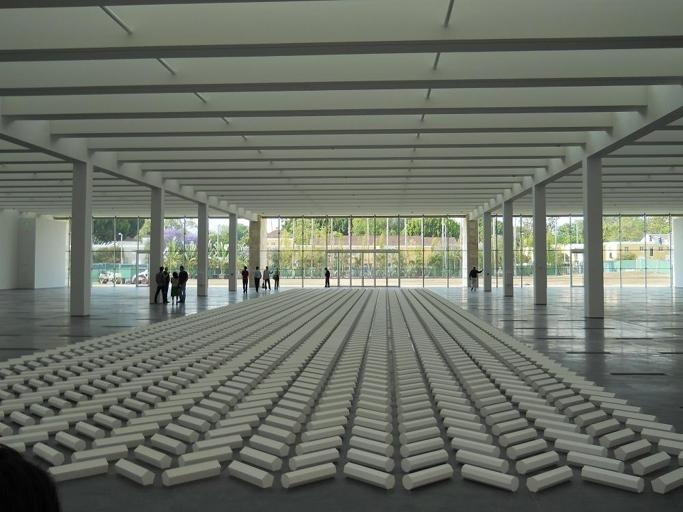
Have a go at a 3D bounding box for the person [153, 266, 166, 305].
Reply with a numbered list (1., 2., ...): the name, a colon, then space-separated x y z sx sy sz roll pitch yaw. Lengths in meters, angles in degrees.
1. person: -7.090 1.109 20.407 0.401 1.336 0.602 2 -1 -30
